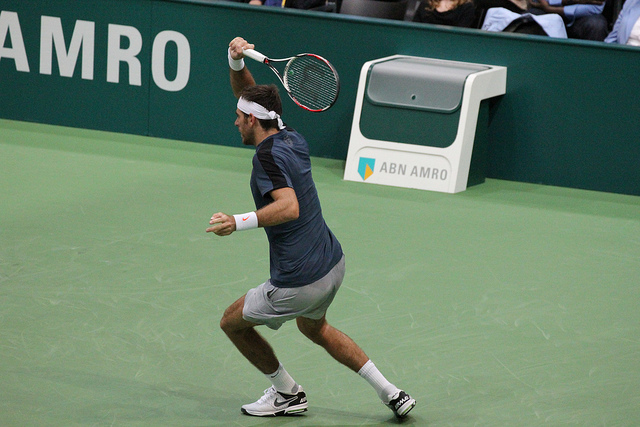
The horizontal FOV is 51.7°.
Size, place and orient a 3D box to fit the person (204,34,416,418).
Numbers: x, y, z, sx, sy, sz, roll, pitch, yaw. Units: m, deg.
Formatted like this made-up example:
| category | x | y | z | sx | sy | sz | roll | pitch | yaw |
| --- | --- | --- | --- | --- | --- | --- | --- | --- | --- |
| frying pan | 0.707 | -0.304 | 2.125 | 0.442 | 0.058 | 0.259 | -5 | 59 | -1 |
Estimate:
| category | x | y | z | sx | sy | sz | roll | pitch | yaw |
| --- | --- | --- | --- | --- | --- | --- | --- | --- | --- |
| person | -0.203 | 0.334 | 4.989 | 1.254 | 2.513 | 0.706 | 0 | 14 | -10 |

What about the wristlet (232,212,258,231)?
| category | x | y | z | sx | sy | sz | roll | pitch | yaw |
| --- | --- | --- | --- | --- | --- | --- | --- | --- | --- |
| wristlet | -0.528 | 0.060 | 4.728 | 0.105 | 0.117 | 0.153 | -12 | 0 | -4 |

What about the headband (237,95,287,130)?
| category | x | y | z | sx | sy | sz | roll | pitch | yaw |
| --- | --- | --- | --- | --- | --- | --- | --- | --- | --- |
| headband | -0.468 | -0.778 | 4.909 | 0.296 | 0.144 | 0.087 | 6 | 14 | 17 |

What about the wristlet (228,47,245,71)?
| category | x | y | z | sx | sy | sz | roll | pitch | yaw |
| --- | --- | --- | --- | --- | --- | --- | --- | --- | --- |
| wristlet | -0.729 | -1.352 | 5.787 | 0.126 | 0.162 | 0.149 | -6 | 42 | -9 |
